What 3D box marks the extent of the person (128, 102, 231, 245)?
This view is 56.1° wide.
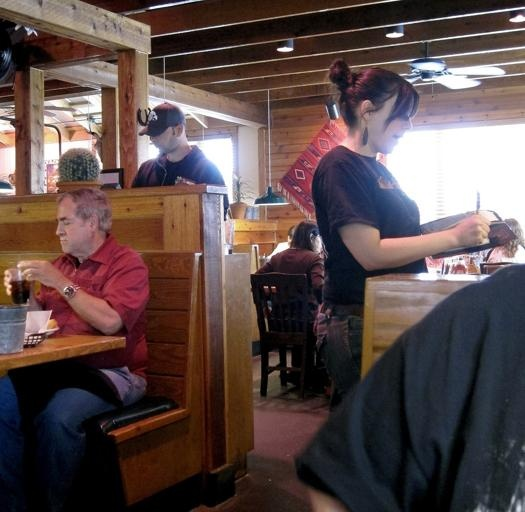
[{"bbox_3d":[-0.631,-0.788,3.585,0.726,0.798,0.253,-10,0,25],"label":"person"}]

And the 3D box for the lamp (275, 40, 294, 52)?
[{"bbox_3d":[0.283,-2.517,6.023,0.200,0.150,0.211,0,-4,-13],"label":"lamp"}]

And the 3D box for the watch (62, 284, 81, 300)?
[{"bbox_3d":[-0.797,0.145,2.041,0.049,0.065,0.074,16,29,24],"label":"watch"}]

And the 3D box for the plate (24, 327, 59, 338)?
[{"bbox_3d":[-0.779,0.265,1.728,0.096,0.018,0.093,0,1,6],"label":"plate"}]

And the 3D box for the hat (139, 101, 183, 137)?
[{"bbox_3d":[-0.755,-0.983,3.654,0.411,0.226,0.268,-7,14,-34],"label":"hat"}]
